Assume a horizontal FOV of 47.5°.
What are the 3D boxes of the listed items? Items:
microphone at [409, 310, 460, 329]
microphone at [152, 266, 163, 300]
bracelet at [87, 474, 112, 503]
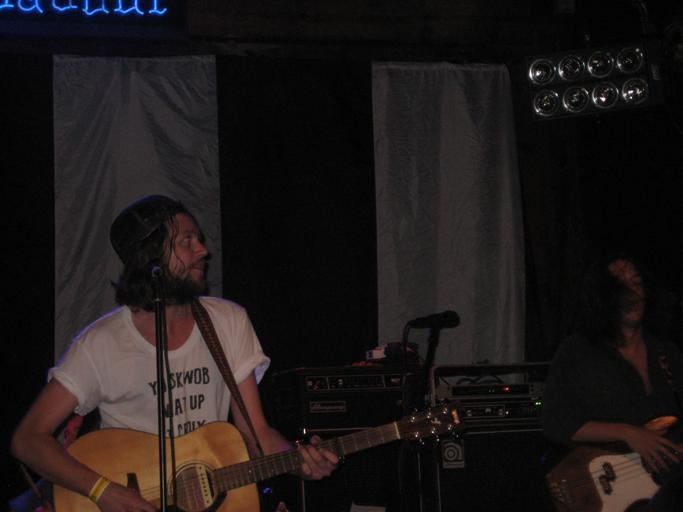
[{"bbox_3d":[0.628,0.439,5.195,0.274,0.083,0.161,-9,-8,14],"label":"microphone"},{"bbox_3d":[-0.981,0.147,4.163,0.057,0.169,0.054,-3,-10,-11],"label":"microphone"},{"bbox_3d":[-1.336,1.295,4.298,0.137,0.111,0.137,9,-10,4],"label":"bracelet"}]
